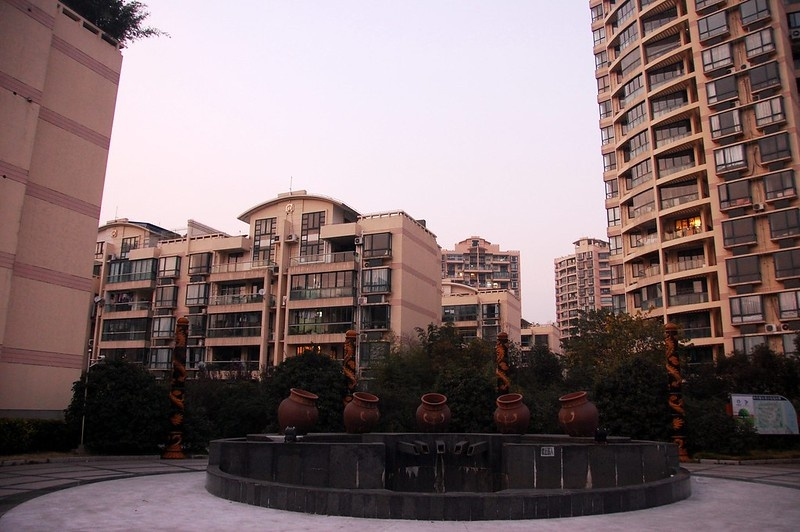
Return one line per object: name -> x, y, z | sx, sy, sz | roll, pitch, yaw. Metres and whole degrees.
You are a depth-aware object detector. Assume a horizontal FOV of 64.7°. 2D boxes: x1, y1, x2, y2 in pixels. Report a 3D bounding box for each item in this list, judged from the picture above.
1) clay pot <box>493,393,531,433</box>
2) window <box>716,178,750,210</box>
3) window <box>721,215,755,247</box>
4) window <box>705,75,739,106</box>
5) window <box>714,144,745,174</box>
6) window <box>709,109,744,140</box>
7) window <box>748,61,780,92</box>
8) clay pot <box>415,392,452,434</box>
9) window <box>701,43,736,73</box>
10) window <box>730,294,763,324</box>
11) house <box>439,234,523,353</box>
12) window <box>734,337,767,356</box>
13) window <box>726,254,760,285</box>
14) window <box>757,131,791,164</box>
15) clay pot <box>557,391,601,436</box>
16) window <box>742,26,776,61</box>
clay pot -> 4.864, 6.482, 27.584 | 1.709, 1.810, 1.629 | -5, -15, -1
window -> 24.397, -5.164, 45.987 | 2.202, 1.868, 1.202 | -10, -18, 41
window -> 24.514, -2.478, 45.566 | 2.150, 1.869, 0.815 | -9, -19, 40
window -> 24.115, -13.046, 47.074 | 2.466, 2.113, 0.956 | -9, -19, 40
window -> 24.294, -7.807, 46.340 | 2.300, 2.045, 0.827 | -6, -10, 42
window -> 24.190, -10.406, 46.591 | 0.873, 2.290, 2.635 | -5, 3, -37
window -> 26.332, -13.610, 45.503 | 2.328, 2.035, 0.788 | -10, -17, 41
clay pot -> 1.469, 6.468, 27.848 | 1.342, 1.663, 0.911 | 0, -18, 2
window -> 24.107, -15.589, 47.529 | 2.621, 2.297, 1.024 | -9, -13, 43
window -> 24.604, 3.091, 44.661 | 0.837, 1.880, 2.109 | 1, -6, -31
house -> 10.243, 3.161, 87.291 | 9.873, 12.689, 6.475 | 1, -17, -3
window -> 23.088, 5.298, 41.451 | 1.292, 0.882, 0.177 | -16, -39, 43
window -> 24.553, 0.338, 44.997 | 1.973, 1.698, 0.758 | -12, -26, 43
window -> 26.543, -8.345, 44.628 | 2.245, 2.002, 0.870 | -11, -15, 42
clay pot -> 7.184, 5.955, 25.470 | 1.420, 1.781, 0.959 | -4, -18, 12
window -> 26.298, -16.160, 46.042 | 0.527, 2.960, 2.727 | 23, -24, -33
